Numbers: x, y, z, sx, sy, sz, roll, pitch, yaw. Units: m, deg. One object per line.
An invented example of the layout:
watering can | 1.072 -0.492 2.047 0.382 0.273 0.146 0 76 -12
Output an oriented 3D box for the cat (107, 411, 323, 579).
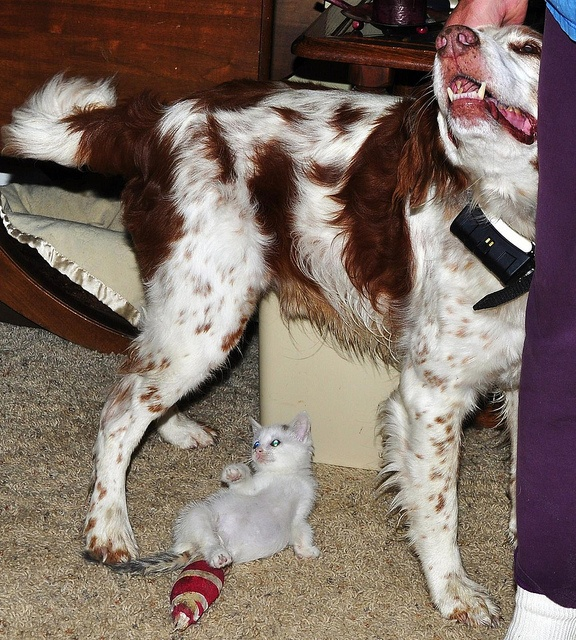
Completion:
cat | -0.112 0.488 1.953 0.663 0.248 0.348 -17 89 -31
